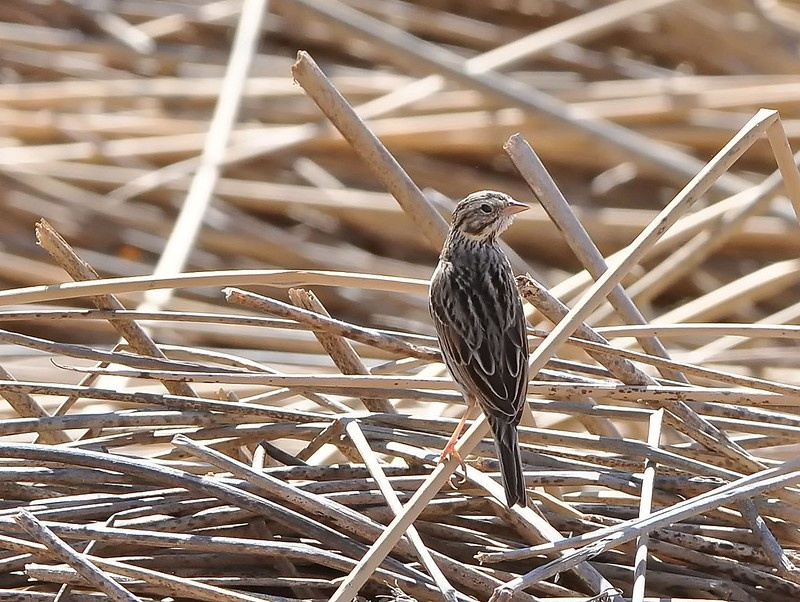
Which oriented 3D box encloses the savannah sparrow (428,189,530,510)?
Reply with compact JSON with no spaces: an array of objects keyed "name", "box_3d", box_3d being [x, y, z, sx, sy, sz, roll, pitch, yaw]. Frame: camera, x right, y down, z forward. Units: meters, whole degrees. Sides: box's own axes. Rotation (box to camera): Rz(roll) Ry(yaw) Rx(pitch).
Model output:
[{"name":"savannah sparrow","box_3d":[0.366,0.160,5.381,0.479,1.811,0.581,3,-32,2]}]
